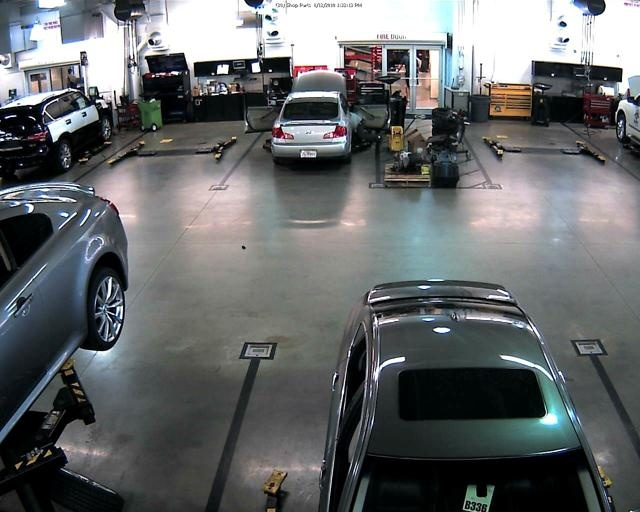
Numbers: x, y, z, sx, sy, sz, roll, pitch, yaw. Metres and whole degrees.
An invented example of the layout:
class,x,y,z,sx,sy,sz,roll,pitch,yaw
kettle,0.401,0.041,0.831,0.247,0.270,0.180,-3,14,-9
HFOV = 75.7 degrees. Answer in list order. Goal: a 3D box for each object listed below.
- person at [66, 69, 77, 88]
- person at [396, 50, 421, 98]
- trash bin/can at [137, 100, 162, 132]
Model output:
class,x,y,z,sx,sy,sz,roll,pitch,yaw
person,-11.147,-7.953,18.404,0.436,0.832,1.593,-13,25,-26
person,4.003,-8.083,18.407,1.043,1.950,0.295,1,20,8
trash bin/can,-6.933,-5.752,16.922,0.943,1.199,0.793,-20,27,-38
